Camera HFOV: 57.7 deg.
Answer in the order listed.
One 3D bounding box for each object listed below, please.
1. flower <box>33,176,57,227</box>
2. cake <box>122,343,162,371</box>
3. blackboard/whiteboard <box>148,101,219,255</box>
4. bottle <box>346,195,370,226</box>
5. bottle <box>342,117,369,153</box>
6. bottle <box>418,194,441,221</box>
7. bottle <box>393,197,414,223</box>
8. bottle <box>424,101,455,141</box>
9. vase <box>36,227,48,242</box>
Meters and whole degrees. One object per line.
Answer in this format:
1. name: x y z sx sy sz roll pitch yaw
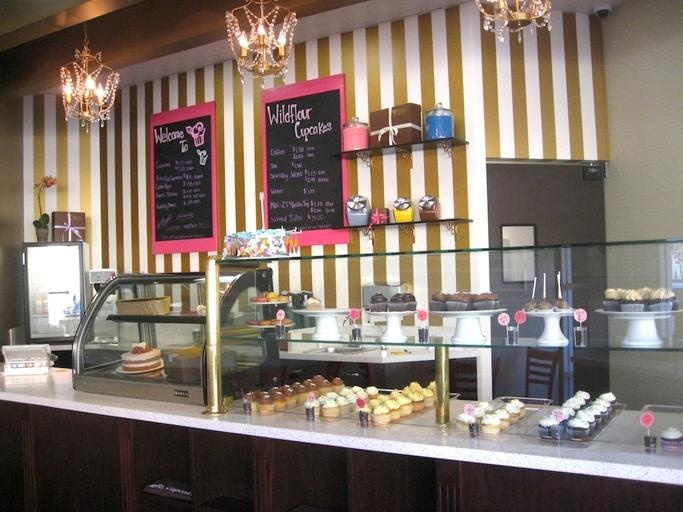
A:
1. flower: -2.854 -0.511 5.938 0.206 0.523 0.332 -2 -1 -25
2. cake: -1.106 0.577 3.434 0.160 0.105 0.164 0 0 29
3. blackboard/whiteboard: -1.455 -0.694 5.673 0.759 0.972 0.080 -2 -1 29
4. bottle: 0.118 -0.339 4.710 0.208 0.292 0.208 0 -5 0
5. bottle: 0.101 -0.910 4.733 0.236 0.280 0.243 0 -1 0
6. bottle: 0.634 -0.357 4.488 0.139 0.191 0.178 -1 -6 21
7. bottle: 0.461 -0.323 4.598 0.166 0.242 0.164 2 -12 0
8. bottle: 0.691 -0.934 4.397 0.241 0.297 0.252 0 -3 -2
9. vase: -2.806 -0.194 5.775 0.115 0.134 0.118 2 4 -6
